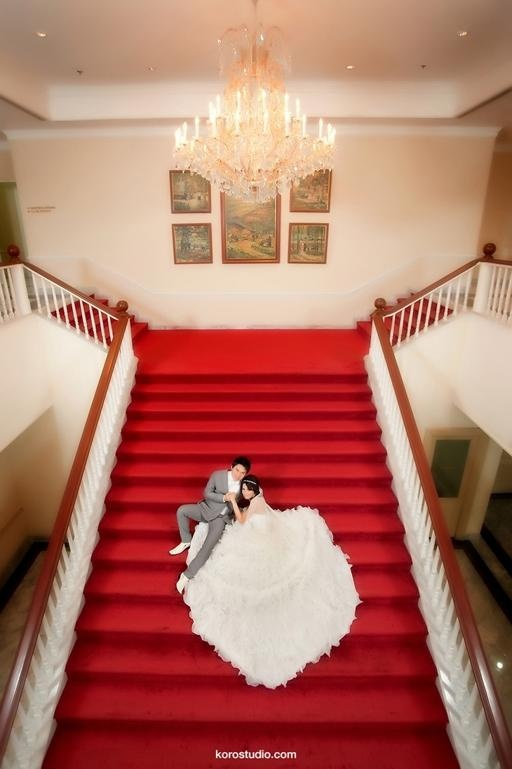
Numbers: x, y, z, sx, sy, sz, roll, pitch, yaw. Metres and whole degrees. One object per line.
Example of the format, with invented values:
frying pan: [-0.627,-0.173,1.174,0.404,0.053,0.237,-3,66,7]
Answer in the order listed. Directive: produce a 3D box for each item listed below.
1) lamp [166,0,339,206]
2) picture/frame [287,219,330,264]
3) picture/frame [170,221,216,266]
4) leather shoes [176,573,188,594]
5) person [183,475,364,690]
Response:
lamp: [-0.038,-2.602,4.195,1.134,1.824,1.181,-21,41,-24]
picture/frame: [0.748,-2.112,6.851,0.524,0.594,0.046,-1,25,-3]
picture/frame: [-0.913,-2.090,6.856,0.561,0.620,0.044,2,38,4]
leather shoes: [-0.576,1.528,3.689,0.055,0.073,0.186,2,45,-2]
person: [0.107,1.529,3.371,1.165,0.436,1.312,-13,48,-9]
